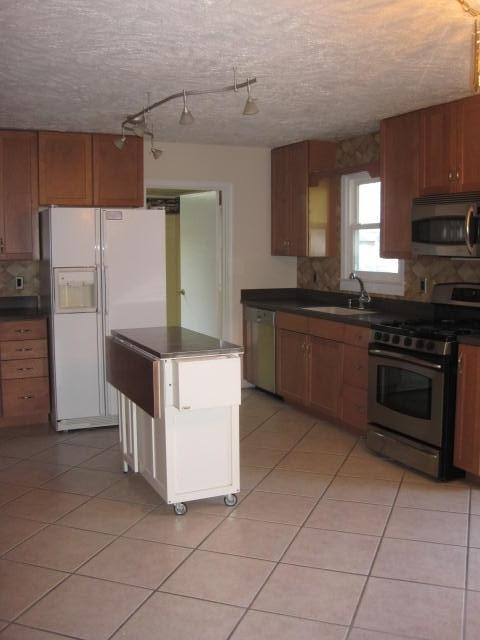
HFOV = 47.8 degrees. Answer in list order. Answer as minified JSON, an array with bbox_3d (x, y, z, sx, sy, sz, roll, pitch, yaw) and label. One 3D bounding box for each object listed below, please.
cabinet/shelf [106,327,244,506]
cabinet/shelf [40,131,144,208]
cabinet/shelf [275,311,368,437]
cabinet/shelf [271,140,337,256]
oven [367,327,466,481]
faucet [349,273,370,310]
[{"bbox_3d":[-0.337,0.504,2.758,0.376,0.697,0.788,-4,9,-27],"label":"cabinet/shelf"},{"bbox_3d":[-1.253,-1.255,4.451,0.636,0.500,0.230,-3,8,-24],"label":"cabinet/shelf"},{"bbox_3d":[0.650,0.418,4.207,0.320,0.645,0.850,-1,6,-23],"label":"cabinet/shelf"},{"bbox_3d":[0.666,-1.157,5.164,0.350,1.086,0.944,-2,4,-28],"label":"cabinet/shelf"},{"bbox_3d":[1.116,0.453,3.366,0.398,0.833,0.611,-3,8,-29],"label":"oven"},{"bbox_3d":[1.035,-0.255,4.644,0.167,0.313,0.522,0,3,12],"label":"faucet"}]
